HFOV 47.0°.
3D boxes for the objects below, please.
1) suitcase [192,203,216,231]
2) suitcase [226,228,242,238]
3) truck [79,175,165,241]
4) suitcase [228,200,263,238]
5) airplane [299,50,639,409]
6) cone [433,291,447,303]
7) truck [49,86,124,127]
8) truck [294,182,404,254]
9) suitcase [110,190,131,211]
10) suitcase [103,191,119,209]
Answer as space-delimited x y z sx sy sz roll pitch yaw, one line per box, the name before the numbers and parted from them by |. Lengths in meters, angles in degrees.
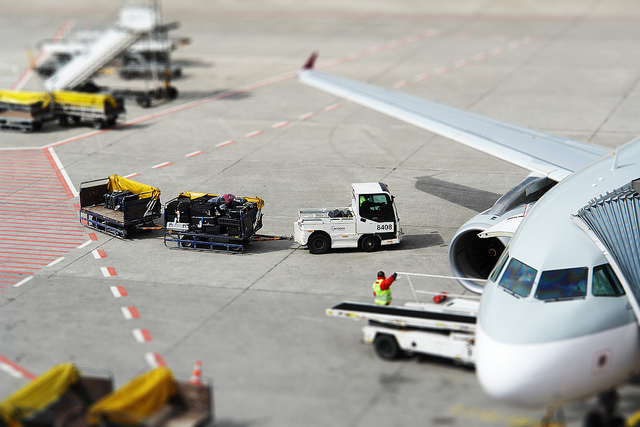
suitcase | -5.301 0.137 33.598 1.517 1.042 1.307 1 9 0
suitcase | -3.769 0.862 32.919 0.529 0.378 0.174 4 15 16
truck | -9.811 -0.381 35.750 5.044 2.055 2.646 18 28 27
suitcase | -3.657 0.276 33.580 1.490 1.183 2.149 -1 15 15
airplane | 8.067 1.144 25.848 12.801 3.809 11.763 9 22 29
cone | 4.795 3.357 28.926 0.475 0.183 0.245 -10 9 -43
truck | -15.734 -7.078 49.326 4.858 1.726 1.298 8 26 12
truck | 1.591 0.131 33.724 5.651 2.244 2.687 -2 15 -1
suitcase | -9.625 -0.663 35.401 0.860 0.908 1.014 10 29 10
suitcase | -10.261 -0.624 35.738 0.831 0.779 0.371 2 6 7
